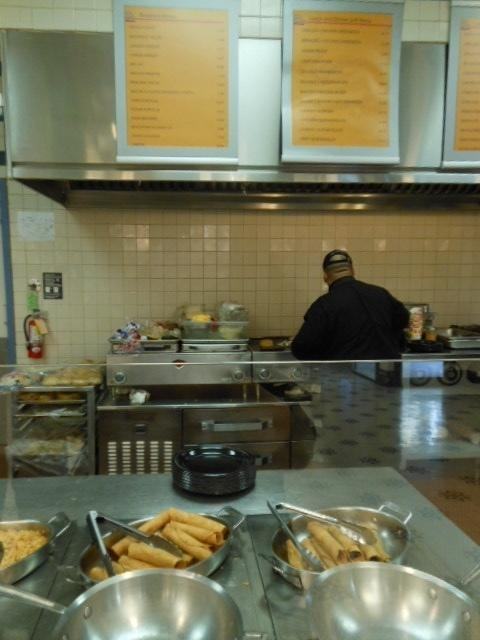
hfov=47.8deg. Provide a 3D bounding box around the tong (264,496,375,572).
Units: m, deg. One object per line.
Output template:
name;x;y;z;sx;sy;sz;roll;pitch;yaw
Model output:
tong;0.141;0.371;0.969;0.083;0.040;0.141;-10;25;-39

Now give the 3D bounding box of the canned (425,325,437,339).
canned;1.050;0.069;2.991;0.055;0.084;0.054;-20;24;-40

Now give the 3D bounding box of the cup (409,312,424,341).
cup;0.978;0.033;2.992;0.081;0.151;0.214;-2;1;18

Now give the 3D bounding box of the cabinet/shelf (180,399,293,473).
cabinet/shelf;-0.043;0.297;1.289;0.316;0.187;0.171;3;-7;-19

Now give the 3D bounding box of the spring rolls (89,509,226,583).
spring rolls;-0.129;0.365;0.954;0.222;0.069;0.174;8;9;39

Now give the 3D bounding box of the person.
person;0.525;-0.089;2.800;0.506;0.736;0.387;-8;37;-2

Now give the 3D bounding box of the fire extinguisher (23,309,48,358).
fire extinguisher;-1.231;0.099;3.275;0.136;0.240;0.091;-2;1;-20

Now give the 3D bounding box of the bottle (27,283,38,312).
bottle;-1.242;-0.136;3.258;0.063;0.152;0.039;-2;1;-10

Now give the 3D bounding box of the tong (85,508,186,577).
tong;-0.184;0.361;0.938;0.154;0.069;0.123;-2;11;-19

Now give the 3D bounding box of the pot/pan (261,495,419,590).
pot/pan;0.162;0.394;0.923;0.256;0.043;0.220;-1;12;1
